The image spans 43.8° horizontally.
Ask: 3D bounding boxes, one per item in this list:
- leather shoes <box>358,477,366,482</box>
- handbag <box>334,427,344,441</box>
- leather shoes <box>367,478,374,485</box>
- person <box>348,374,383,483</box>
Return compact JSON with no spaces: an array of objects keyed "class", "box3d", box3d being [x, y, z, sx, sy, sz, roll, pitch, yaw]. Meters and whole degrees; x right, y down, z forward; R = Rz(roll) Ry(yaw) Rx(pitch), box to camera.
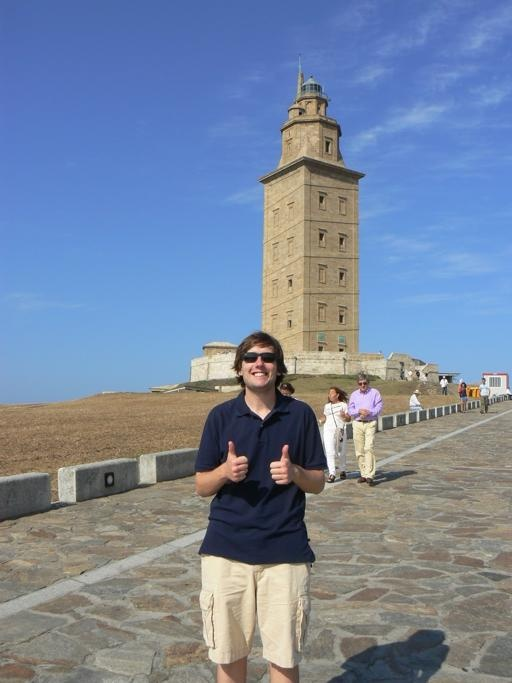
[{"class":"leather shoes","box3d":[1.730,2.281,10.414,0.121,0.108,0.289,-1,-5,7]},{"class":"handbag","box3d":[1.441,1.598,10.897,0.247,0.234,0.088,4,-7,-40]},{"class":"leather shoes","box3d":[1.850,2.270,10.249,0.092,0.138,0.146,-1,-1,17]},{"class":"person","box3d":[1.789,1.451,10.566,0.553,1.785,0.896,-1,-5,8]}]
